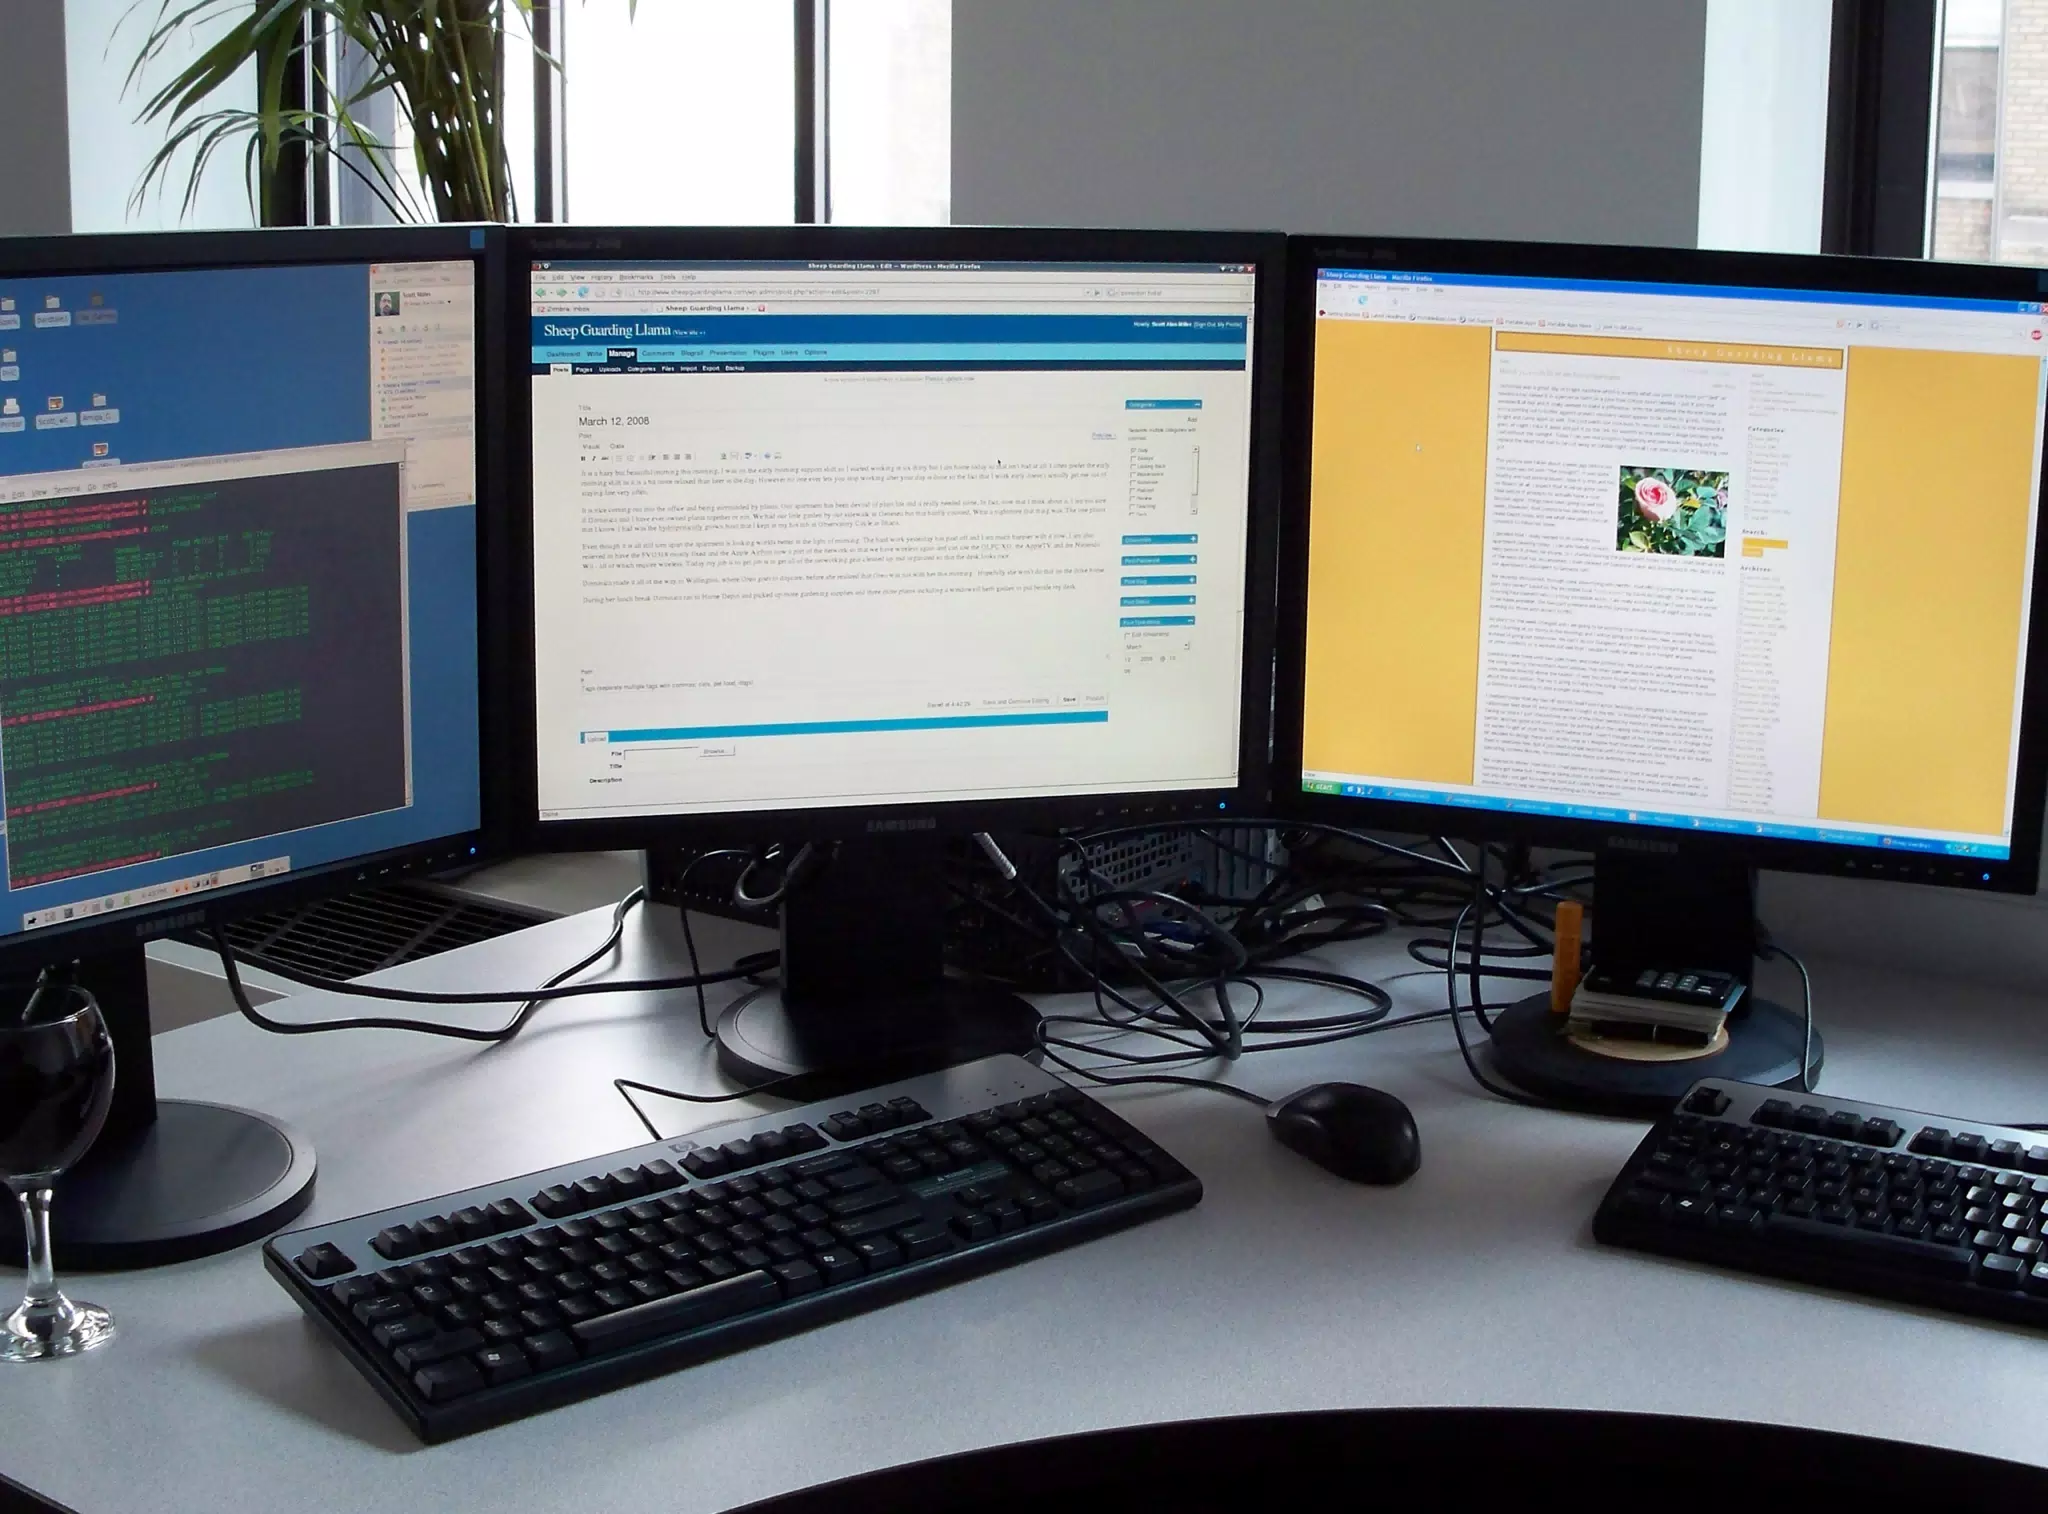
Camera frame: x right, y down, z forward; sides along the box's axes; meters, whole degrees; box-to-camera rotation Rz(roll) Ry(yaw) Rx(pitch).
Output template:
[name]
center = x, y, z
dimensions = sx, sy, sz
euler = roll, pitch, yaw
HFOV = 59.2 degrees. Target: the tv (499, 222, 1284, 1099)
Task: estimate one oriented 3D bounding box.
[tv]
center = -0.103, -0.092, 1.444
dimensions = 0.736, 0.766, 0.254
euler = -2, 9, -18
